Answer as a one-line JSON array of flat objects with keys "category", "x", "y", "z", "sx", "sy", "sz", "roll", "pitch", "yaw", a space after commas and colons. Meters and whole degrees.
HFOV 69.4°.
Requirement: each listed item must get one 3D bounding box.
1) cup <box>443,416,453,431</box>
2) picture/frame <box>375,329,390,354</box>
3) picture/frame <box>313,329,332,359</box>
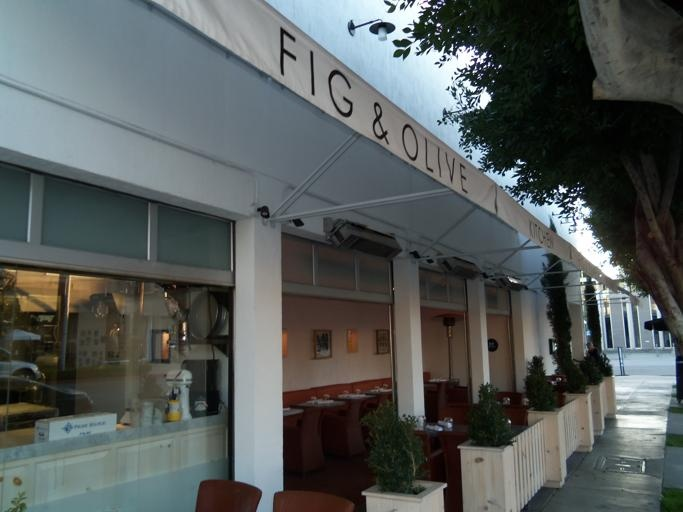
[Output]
[{"category": "cup", "x": 1.578, "y": 2.486, "z": 7.268, "sx": 0.169, "sy": 0.173, "sz": 0.328, "roll": 0, "pitch": -16, "yaw": -2}, {"category": "picture/frame", "x": 1.191, "y": 2.591, "z": 14.657, "sx": 0.133, "sy": 0.741, "sz": 0.612, "roll": -9, "pitch": -12, "yaw": 34}, {"category": "picture/frame", "x": -0.524, "y": 2.282, "z": 12.431, "sx": 0.054, "sy": 0.625, "sz": 0.670, "roll": -8, "pitch": -11, "yaw": 38}]
